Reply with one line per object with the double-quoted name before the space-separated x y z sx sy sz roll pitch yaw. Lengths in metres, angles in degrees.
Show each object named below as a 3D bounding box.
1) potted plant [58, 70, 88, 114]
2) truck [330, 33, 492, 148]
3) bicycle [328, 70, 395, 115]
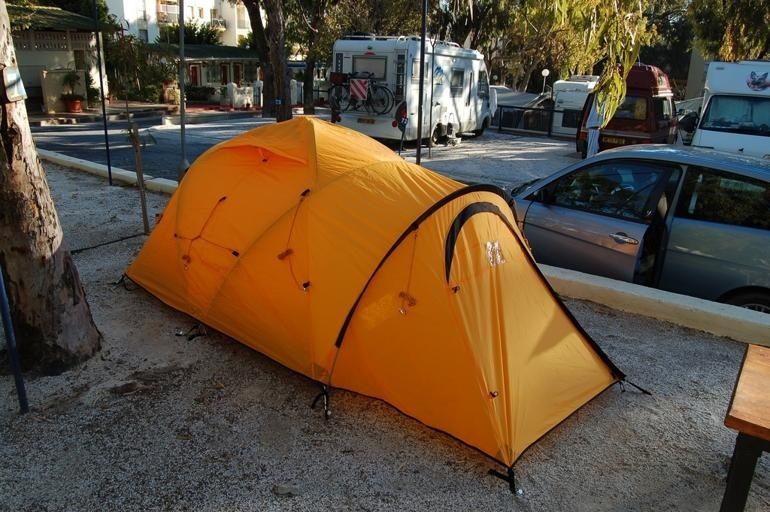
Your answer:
"potted plant" -13.658 -7.322 25.160 0.651 1.648 1.382 2 20 -2
"truck" 1.487 -5.306 18.509 3.189 3.304 5.756 17 29 36
"bicycle" -0.859 -4.733 16.671 1.147 1.329 2.432 -17 30 -43
